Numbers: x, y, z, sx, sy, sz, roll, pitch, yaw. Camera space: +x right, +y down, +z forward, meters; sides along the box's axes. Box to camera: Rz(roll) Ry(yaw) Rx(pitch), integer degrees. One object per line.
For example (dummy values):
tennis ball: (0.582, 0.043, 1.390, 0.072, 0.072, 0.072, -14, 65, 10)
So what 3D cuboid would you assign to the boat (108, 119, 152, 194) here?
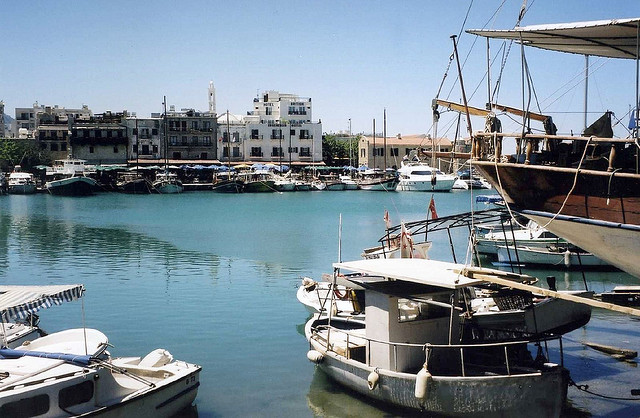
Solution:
boat: (-27.249, -6.516, 92.125, 4.687, 9.940, 9.418, 2, -3, -37)

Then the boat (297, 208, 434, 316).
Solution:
boat: (2.503, 2.120, 29.067, 9.693, 4.607, 4.589, 1, 0, 40)

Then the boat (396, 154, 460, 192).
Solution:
boat: (15.524, -4.714, 100.403, 8.689, 4.644, 5.471, 8, 17, 33)

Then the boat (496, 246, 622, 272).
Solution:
boat: (11.214, 2.307, 30.862, 6.759, 1.301, 1.743, 4, 5, 15)

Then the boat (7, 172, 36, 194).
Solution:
boat: (-39.880, -3.366, 88.251, 3.251, 2.911, 10.590, -1, 0, -21)

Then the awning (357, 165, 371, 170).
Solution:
awning: (7.631, -7.137, 114.774, 1.635, 0.632, 1.573, -1, -1, 3)

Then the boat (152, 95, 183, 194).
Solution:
boat: (-21.830, -9.516, 93.965, 4.498, 15.660, 14.342, -4, 0, -13)

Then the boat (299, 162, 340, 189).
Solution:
boat: (-0.394, -5.159, 103.934, 4.743, 3.496, 7.506, 0, 6, -8)

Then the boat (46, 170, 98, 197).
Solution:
boat: (-31.825, -3.702, 84.210, 9.801, 3.800, 4.268, -1, -2, 33)
